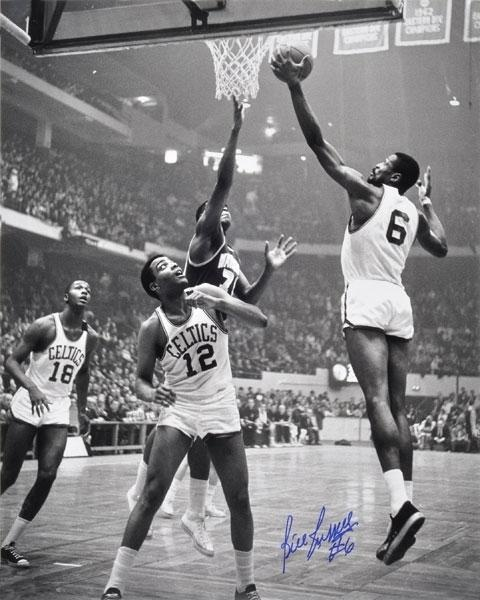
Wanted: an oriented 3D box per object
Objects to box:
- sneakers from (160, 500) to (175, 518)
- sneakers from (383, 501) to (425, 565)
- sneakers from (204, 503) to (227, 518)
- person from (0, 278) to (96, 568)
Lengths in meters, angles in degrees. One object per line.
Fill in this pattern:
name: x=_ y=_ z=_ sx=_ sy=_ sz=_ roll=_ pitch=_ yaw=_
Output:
sneakers: x=-0.521 y=1.510 z=5.167 sx=0.072 sy=0.147 sz=0.137 roll=5 pitch=-24 yaw=-8
sneakers: x=0.701 y=1.012 z=3.080 sx=0.130 sy=0.298 sz=0.253 roll=0 pitch=-4 yaw=-2
sneakers: x=-0.174 y=1.535 z=5.237 sx=0.184 sy=0.104 sz=0.078 roll=2 pitch=-6 yaw=-5
person: x=-1.135 y=0.685 z=4.243 sx=0.392 sy=1.627 sz=0.709 roll=-2 pitch=-4 yaw=20
